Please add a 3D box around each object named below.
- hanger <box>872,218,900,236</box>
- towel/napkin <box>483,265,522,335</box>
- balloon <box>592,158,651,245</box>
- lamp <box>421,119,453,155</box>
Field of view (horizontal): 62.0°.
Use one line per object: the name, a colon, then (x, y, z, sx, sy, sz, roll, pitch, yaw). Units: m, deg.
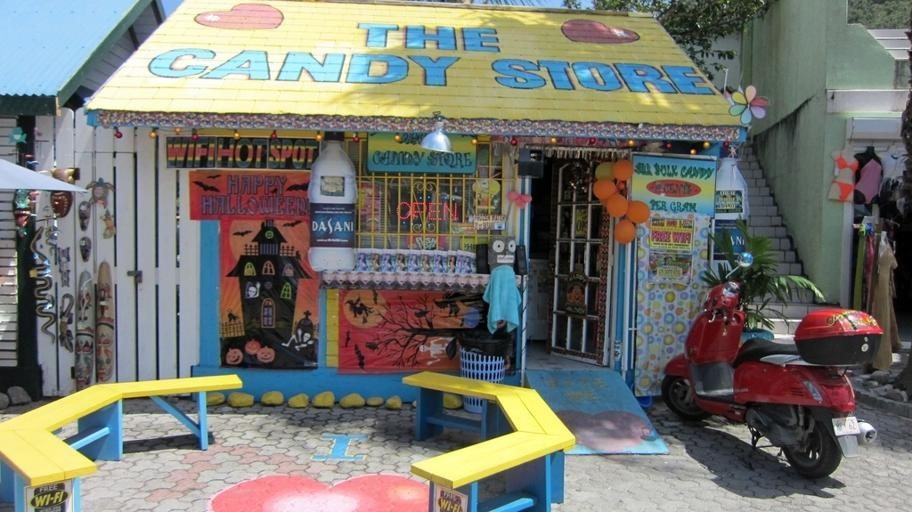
hanger: (8.938, -0.629, 15.826, 0.581, 0.367, 0.309, 4, -4, -38)
towel/napkin: (0.788, 0.722, 13.077, 0.585, 1.205, 0.497, -1, 0, 15)
balloon: (2.991, -0.971, 13.755, 1.007, 1.503, 0.460, 0, 5, 15)
lamp: (-0.290, -2.003, 12.696, 0.579, 0.528, 0.544, 4, -3, 0)
